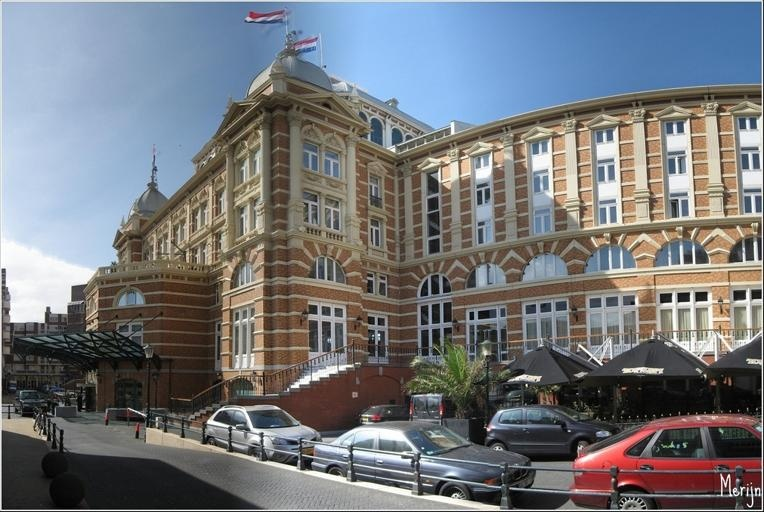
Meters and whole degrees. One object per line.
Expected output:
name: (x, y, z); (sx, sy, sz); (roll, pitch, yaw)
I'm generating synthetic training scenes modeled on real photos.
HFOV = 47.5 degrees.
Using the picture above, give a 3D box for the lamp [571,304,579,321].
lamp: (11.215, 3.350, 50.492); (0.406, 0.899, 0.313); (-4, -18, 15)

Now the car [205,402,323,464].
car: (-5.605, 7.951, 38.788); (4.408, 1.712, 2.410); (-9, -15, 37)

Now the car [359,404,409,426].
car: (0.238, 7.933, 43.796); (2.040, 0.746, 1.098); (-1, -2, -27)

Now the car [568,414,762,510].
car: (10.404, 7.402, 31.252); (6.219, 3.360, 2.352); (-5, -18, 19)

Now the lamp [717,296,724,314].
lamp: (18.849, 2.725, 48.368); (0.298, 0.926, 0.203); (-3, -18, 13)

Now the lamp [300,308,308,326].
lamp: (-4.382, 3.513, 49.810); (0.213, 0.937, 0.558); (-14, -23, 40)

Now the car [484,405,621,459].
car: (6.954, 7.960, 38.682); (6.739, 2.269, 2.856); (-3, -7, 25)

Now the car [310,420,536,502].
car: (1.421, 8.009, 34.062); (7.645, 2.005, 3.302); (-6, -10, 27)
